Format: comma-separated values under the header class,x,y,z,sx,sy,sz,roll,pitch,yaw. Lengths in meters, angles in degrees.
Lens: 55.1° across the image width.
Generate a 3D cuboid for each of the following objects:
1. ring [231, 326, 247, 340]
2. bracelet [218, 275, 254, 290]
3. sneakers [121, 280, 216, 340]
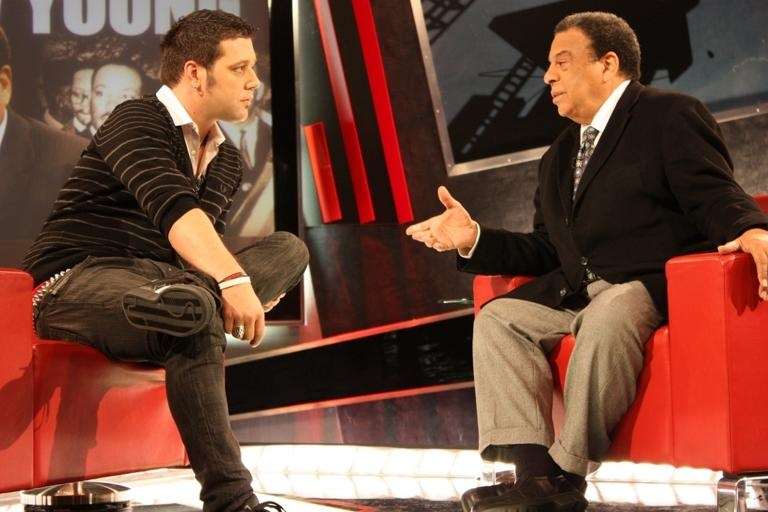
class,x,y,z,sx,sy,sz,roll,pitch,yaw
ring,-0.406,0.221,2.070,0.042,0.038,0.045,-1,-11,0
bracelet,-0.421,0.070,2.031,0.055,0.014,0.053,-15,1,-42
sneakers,-0.565,0.150,1.926,0.225,0.118,0.105,2,7,18
